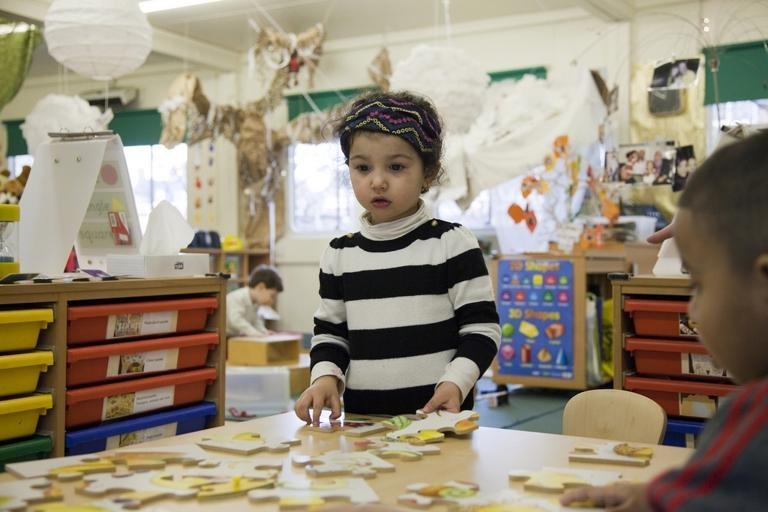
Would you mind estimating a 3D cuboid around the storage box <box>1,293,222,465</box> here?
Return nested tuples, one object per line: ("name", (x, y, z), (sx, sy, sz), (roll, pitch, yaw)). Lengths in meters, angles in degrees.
("storage box", (-0.905, 0.356, 2.168), (0.425, 0.526, 0.753), (-2, -2, 35))

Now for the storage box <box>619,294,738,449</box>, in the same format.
("storage box", (1.203, 0.426, 2.772), (0.532, 0.775, 0.558), (1, -2, 27))

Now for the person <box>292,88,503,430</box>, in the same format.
("person", (0.043, -0.013, 1.768), (0.540, 0.924, 0.535), (-1, 6, 0))
